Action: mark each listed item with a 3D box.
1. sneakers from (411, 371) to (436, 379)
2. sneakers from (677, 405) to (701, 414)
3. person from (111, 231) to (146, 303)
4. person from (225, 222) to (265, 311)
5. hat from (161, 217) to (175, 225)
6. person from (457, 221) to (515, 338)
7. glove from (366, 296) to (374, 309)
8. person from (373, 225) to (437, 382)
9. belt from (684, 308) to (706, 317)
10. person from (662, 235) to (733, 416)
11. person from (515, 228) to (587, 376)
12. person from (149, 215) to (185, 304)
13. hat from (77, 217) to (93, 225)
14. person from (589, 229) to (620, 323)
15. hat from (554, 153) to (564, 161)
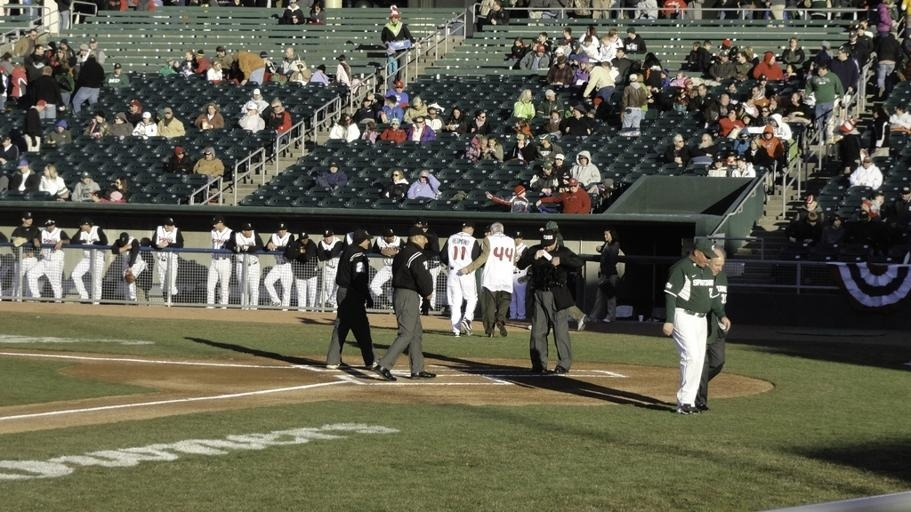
[{"bbox_3d":[-0.787,2.949,34.053,0.634,0.246,0.201,-3,1,-4],"label":"sneakers"},{"bbox_3d":[5.350,3.570,31.834,0.436,0.166,0.210,-4,17,-3],"label":"sneakers"},{"bbox_3d":[-10.151,0.382,43.051,1.043,2.116,0.328,2,3,-12],"label":"person"},{"bbox_3d":[-6.476,0.344,42.825,1.055,2.587,0.415,3,3,9],"label":"person"},{"bbox_3d":[-9.169,-1.078,43.687,0.475,0.209,0.330,-6,1,23],"label":"hat"},{"bbox_3d":[1.016,0.692,38.889,1.163,3.275,0.955,2,3,4],"label":"person"},{"bbox_3d":[-2.194,1.158,34.217,0.224,0.275,0.276,12,-2,9],"label":"glove"},{"bbox_3d":[-1.138,1.163,33.850,1.306,3.789,0.977,2,3,7],"label":"person"},{"bbox_3d":[5.463,1.321,31.658,0.507,0.159,0.085,1,3,-15],"label":"belt"},{"bbox_3d":[5.421,1.678,31.713,1.317,3.957,0.483,2,3,-1],"label":"person"},{"bbox_3d":[2.344,1.065,34.797,1.404,3.813,0.866,2,3,2],"label":"person"},{"bbox_3d":[-9.060,0.186,43.315,0.966,2.687,0.625,2,3,6],"label":"person"},{"bbox_3d":[-11.958,-1.127,44.461,0.452,0.214,0.327,12,8,20],"label":"hat"},{"bbox_3d":[4.548,0.614,41.893,0.749,2.771,0.562,2,3,3],"label":"person"},{"bbox_3d":[3.382,-3.278,45.334,0.263,0.151,0.251,7,-4,14],"label":"hat"}]
